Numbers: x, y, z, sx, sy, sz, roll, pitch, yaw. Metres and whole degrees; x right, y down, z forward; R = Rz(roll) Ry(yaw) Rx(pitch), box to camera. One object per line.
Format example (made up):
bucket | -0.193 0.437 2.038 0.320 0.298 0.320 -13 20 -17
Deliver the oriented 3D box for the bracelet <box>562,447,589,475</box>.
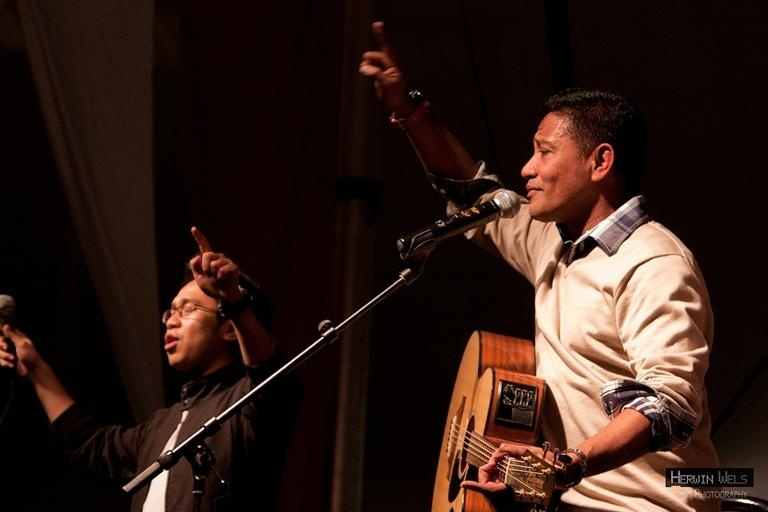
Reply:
bracelet | 0.682 0.725 2.716 0.083 0.033 0.082 18 26 24

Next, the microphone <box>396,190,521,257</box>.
microphone | 0.360 -0.143 3.415 0.455 0.141 0.125 -30 0 -7

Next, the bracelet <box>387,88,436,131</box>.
bracelet | 0.140 -0.685 3.631 0.211 0.161 0.082 -41 -34 27

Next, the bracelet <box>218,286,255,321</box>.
bracelet | -0.697 0.201 3.533 0.134 0.163 0.104 23 -29 -33

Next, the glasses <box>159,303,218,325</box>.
glasses | -0.962 0.277 3.738 0.145 0.049 0.158 -12 -20 40
